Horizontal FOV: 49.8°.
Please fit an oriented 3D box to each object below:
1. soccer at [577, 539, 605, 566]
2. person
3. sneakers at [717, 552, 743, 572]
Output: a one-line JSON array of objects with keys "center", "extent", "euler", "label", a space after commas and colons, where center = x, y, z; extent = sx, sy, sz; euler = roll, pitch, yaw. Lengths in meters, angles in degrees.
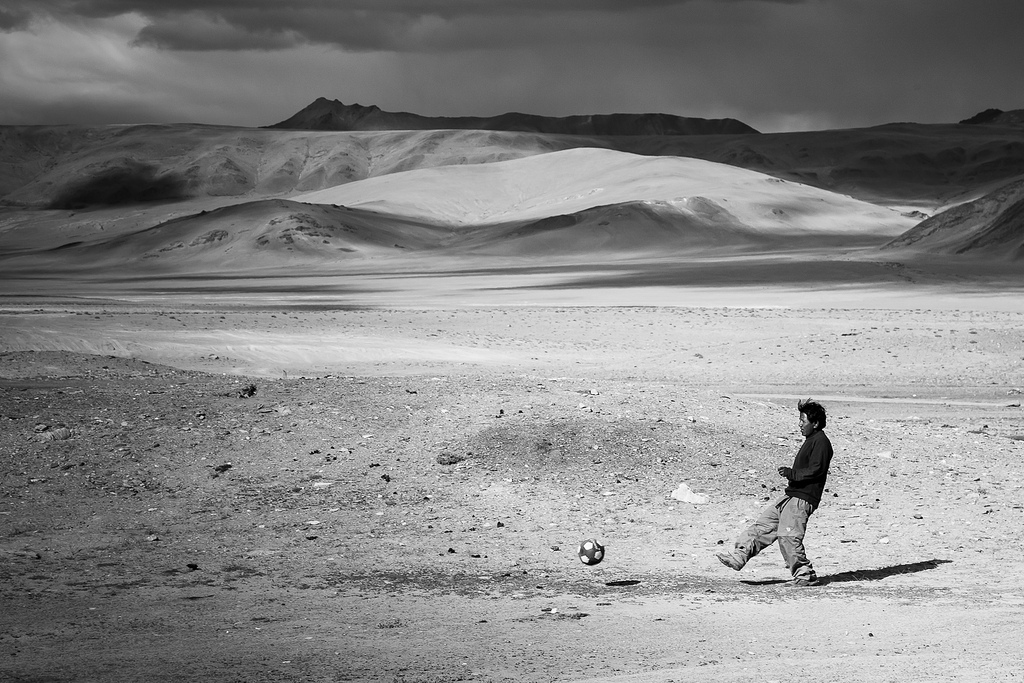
[{"center": [1.043, 2.748, 14.496], "extent": [0.323, 0.334, 0.177], "euler": [10, 16, 5], "label": "soccer"}, {"center": [3.597, 1.894, 14.140], "extent": [1.101, 2.267, 0.877], "euler": [13, 17, 9], "label": "person"}, {"center": [2.851, 2.806, 14.233], "extent": [0.156, 0.168, 0.386], "euler": [-47, 35, -20], "label": "sneakers"}]
